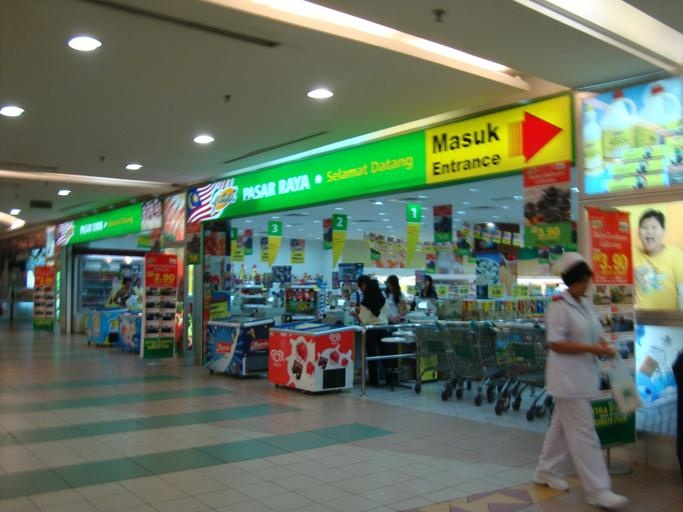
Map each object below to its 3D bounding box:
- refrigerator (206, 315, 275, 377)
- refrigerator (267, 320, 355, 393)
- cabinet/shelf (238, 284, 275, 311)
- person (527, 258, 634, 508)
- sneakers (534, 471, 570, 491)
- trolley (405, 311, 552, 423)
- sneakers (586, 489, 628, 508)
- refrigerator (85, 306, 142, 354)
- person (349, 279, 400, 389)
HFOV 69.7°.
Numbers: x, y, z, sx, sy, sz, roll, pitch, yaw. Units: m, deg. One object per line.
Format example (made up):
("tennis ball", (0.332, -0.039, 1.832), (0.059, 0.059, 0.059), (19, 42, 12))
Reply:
("refrigerator", (-2.002, 1.750, 9.524), (1.314, 0.972, 0.774), (-5, -6, 43))
("refrigerator", (-0.543, 1.673, 8.215), (0.798, 0.951, 1.419), (4, -8, -37))
("cabinet/shelf", (-2.782, 1.301, 15.468), (0.989, 0.692, 4.230), (1, -4, -12))
("person", (1.914, 0.951, 3.959), (0.595, 1.955, 0.531), (-2, -5, 20))
("sneakers", (1.762, 1.893, 4.137), (0.289, 0.118, 0.105), (-1, -1, 35))
("trolley", (2.241, 1.606, 7.476), (2.147, 1.345, 1.260), (-6, -7, 42))
("sneakers", (2.006, 1.838, 3.725), (0.270, 0.109, 0.136), (-4, -1, 19))
("refrigerator", (-6.221, 1.984, 13.373), (1.469, 0.777, 1.884), (3, -3, -37))
("person", (0.637, 1.301, 8.653), (0.793, 1.890, 0.870), (3, -5, -31))
